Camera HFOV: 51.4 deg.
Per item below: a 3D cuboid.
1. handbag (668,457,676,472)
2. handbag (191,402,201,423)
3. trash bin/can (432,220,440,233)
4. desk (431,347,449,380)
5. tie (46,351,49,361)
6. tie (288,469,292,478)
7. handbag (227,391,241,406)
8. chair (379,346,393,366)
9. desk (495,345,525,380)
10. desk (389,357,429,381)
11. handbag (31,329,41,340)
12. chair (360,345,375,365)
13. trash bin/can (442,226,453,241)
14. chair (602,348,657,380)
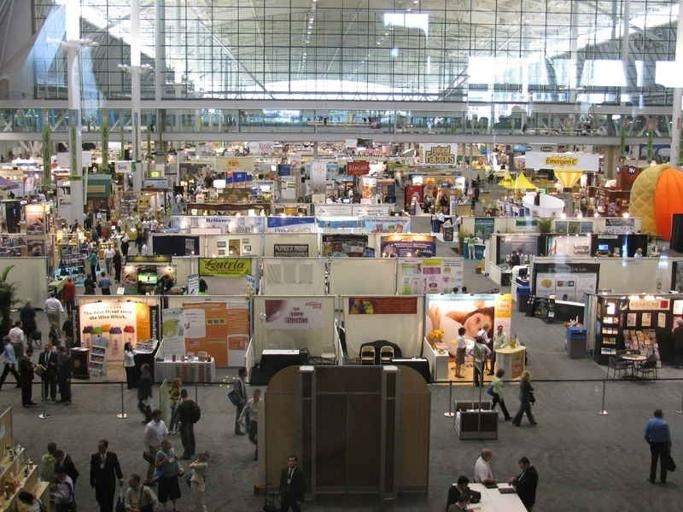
[{"bbox_3d":[5.817,3.692,12.507,0.217,0.308,0.077,22,-19,-40],"label":"handbag"},{"bbox_3d":[-2.627,2.866,12.986,0.128,0.344,0.243,5,0,-35],"label":"handbag"},{"bbox_3d":[4.384,-1.357,33.008,0.449,0.541,0.465,-1,11,-3],"label":"trash bin/can"},{"bbox_3d":[2.292,2.555,16.648,0.238,0.579,0.615,-1,7,-4],"label":"desk"},{"bbox_3d":[-6.301,2.147,15.188,0.090,0.196,0.043,-1,-11,-1],"label":"tie"},{"bbox_3d":[-0.802,3.400,11.130,0.075,0.103,0.043,-1,2,-5],"label":"tie"},{"bbox_3d":[-2.093,2.759,13.816,0.207,0.312,0.254,-2,3,-9],"label":"handbag"},{"bbox_3d":[1.069,2.364,16.883,0.279,0.533,0.385,0,-1,-2],"label":"chair"},{"bbox_3d":[3.917,2.512,16.613,0.295,0.644,0.728,3,7,37],"label":"desk"},{"bbox_3d":[1.587,2.541,16.445,0.921,0.623,1.170,0,1,8],"label":"desk"},{"bbox_3d":[-7.845,2.028,18.228,0.214,0.216,0.218,-5,13,-23],"label":"handbag"},{"bbox_3d":[0.606,2.339,16.772,0.368,0.535,0.382,-1,4,-3],"label":"chair"},{"bbox_3d":[4.715,-0.958,31.495,0.487,0.731,0.508,-1,3,-3],"label":"trash bin/can"},{"bbox_3d":[7.129,2.725,17.290,0.781,0.390,0.904,-3,7,6],"label":"chair"}]
